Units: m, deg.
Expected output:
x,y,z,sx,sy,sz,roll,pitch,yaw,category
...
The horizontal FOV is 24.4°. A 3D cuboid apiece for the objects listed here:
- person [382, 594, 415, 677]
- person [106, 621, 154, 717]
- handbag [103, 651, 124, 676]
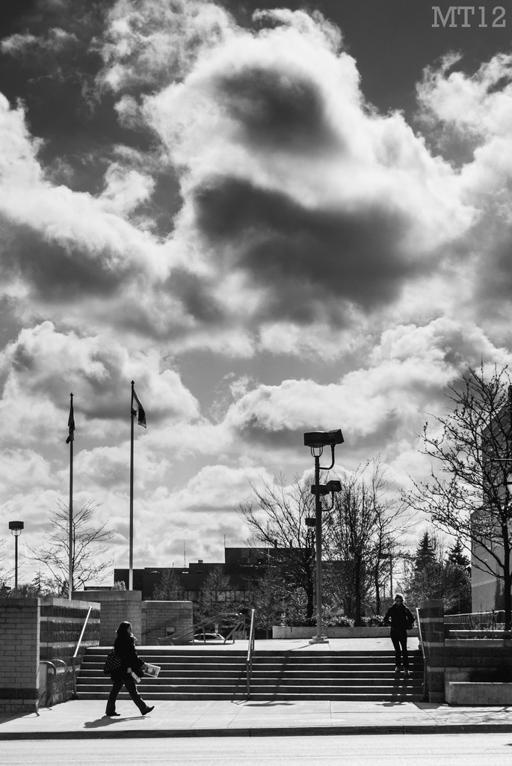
x,y,z,sx,sy,sz,roll,pitch,yaw,category
2.923,5.135,24.205,0.492,1.553,1.200,-1,-11,6,person
-2.183,4.863,20.052,0.728,1.569,0.871,1,-10,-6,person
-2.428,4.717,19.815,0.242,0.453,0.425,4,-12,-23,handbag
